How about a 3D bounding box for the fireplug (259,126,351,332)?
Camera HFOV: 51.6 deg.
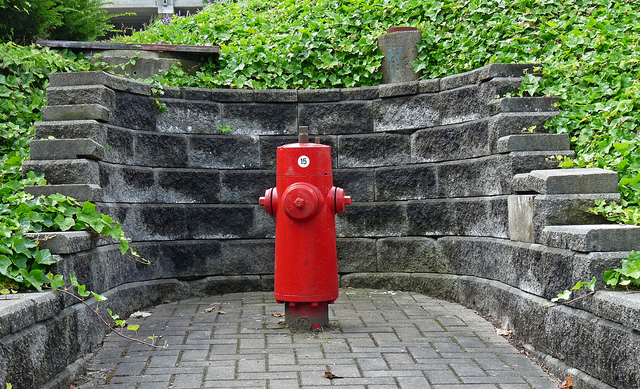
[{"bbox_3d":[-0.201,0.495,7.982,0.896,2.165,0.771,7,16,26],"label":"fireplug"}]
